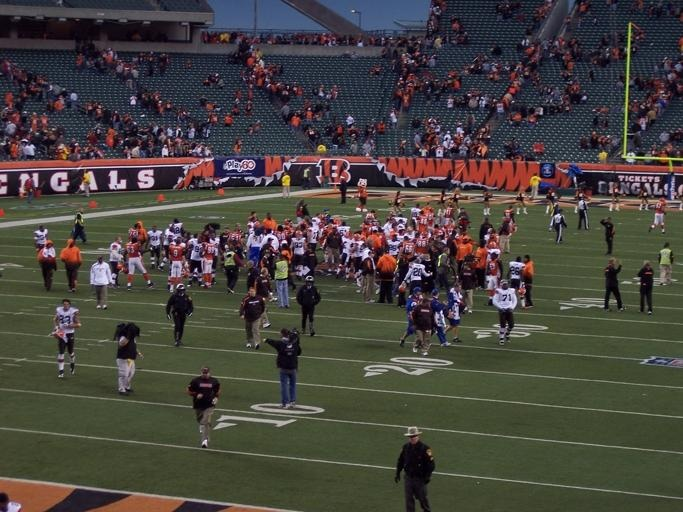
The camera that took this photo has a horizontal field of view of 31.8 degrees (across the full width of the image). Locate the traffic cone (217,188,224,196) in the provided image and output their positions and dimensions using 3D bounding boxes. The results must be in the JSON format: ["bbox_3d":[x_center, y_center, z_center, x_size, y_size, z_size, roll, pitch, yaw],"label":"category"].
[{"bbox_3d":[-5.815,-3.076,58.041,0.403,0.328,0.390,-6,12,-26],"label":"traffic cone"}]

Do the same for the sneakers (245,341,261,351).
[{"bbox_3d":[-2.302,2.323,30.842,0.150,0.166,0.402,-7,6,-36],"label":"sneakers"}]

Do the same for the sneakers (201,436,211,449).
[{"bbox_3d":[-2.841,3.924,24.948,0.099,0.101,0.264,3,28,-5],"label":"sneakers"}]

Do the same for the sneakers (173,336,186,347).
[{"bbox_3d":[-4.196,2.213,30.938,0.133,0.229,0.381,1,10,6],"label":"sneakers"}]

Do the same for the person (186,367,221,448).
[{"bbox_3d":[-2.878,3.159,24.963,0.602,1.667,0.490,2,14,8],"label":"person"}]

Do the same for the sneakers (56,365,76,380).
[{"bbox_3d":[-6.578,2.768,28.613,0.181,0.240,0.578,1,23,8],"label":"sneakers"}]

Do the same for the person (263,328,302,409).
[{"bbox_3d":[-1.269,2.505,26.780,0.647,1.792,0.648,-1,14,-3],"label":"person"}]

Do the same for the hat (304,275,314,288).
[{"bbox_3d":[-0.847,0.641,31.409,0.265,0.293,0.298,4,30,5],"label":"hat"}]

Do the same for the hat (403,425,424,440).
[{"bbox_3d":[1.302,3.329,22.387,0.545,0.208,0.615,-8,-4,5],"label":"hat"}]

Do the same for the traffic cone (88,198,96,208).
[{"bbox_3d":[-10.939,-2.232,52.279,0.496,0.367,0.510,-1,14,-9],"label":"traffic cone"}]

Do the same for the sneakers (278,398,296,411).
[{"bbox_3d":[-1.218,3.368,26.850,0.141,0.170,0.412,-3,8,-35],"label":"sneakers"}]

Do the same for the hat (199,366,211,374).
[{"bbox_3d":[-2.824,2.397,24.881,0.144,0.164,0.180,1,2,-3],"label":"hat"}]
